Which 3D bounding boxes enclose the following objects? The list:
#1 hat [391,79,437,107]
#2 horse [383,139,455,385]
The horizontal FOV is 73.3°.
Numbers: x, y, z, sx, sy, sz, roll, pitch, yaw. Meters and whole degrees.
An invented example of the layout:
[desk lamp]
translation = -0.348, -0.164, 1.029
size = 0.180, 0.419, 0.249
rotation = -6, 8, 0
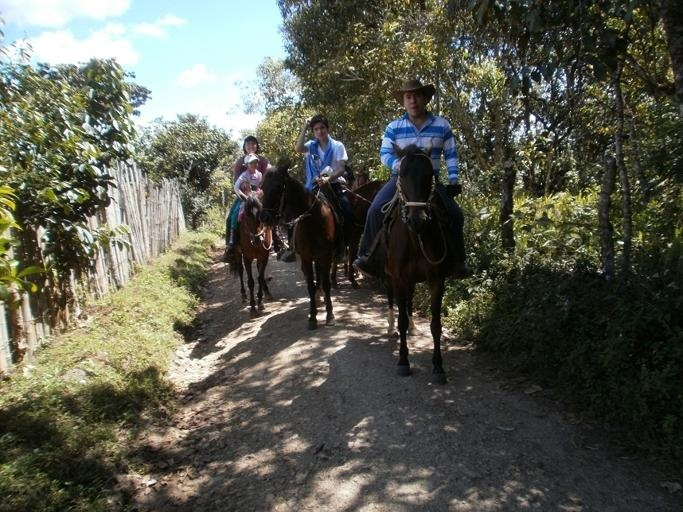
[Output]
[hat]
translation = 1.063, -2.549, 6.844
size = 0.476, 0.207, 0.532
rotation = -4, -16, 3
[horse]
translation = 1.025, 0.087, 6.249
size = 0.828, 3.061, 1.244
rotation = -1, 6, 0
